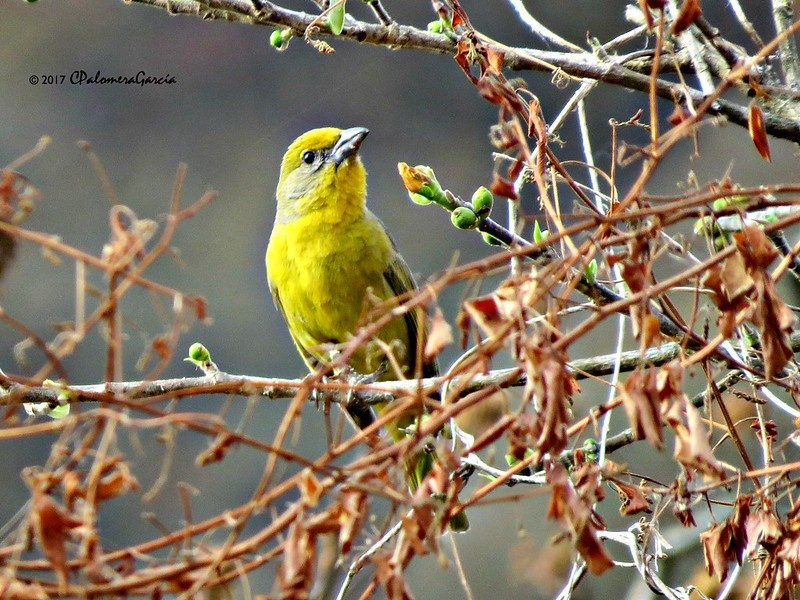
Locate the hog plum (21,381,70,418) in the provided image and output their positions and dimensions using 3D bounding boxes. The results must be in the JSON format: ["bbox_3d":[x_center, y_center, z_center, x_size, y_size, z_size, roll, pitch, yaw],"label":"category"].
[{"bbox_3d":[-1.230,0.365,3.642,0.164,0.051,0.128,-15,-65,18],"label":"hog plum"}]

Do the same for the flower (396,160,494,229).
[{"bbox_3d":[0.160,-0.362,3.697,0.356,0.180,0.145,29,-58,-3],"label":"flower"}]

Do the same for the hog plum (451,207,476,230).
[{"bbox_3d":[0.223,-0.280,3.655,0.085,0.066,0.071,15,-96,-5],"label":"hog plum"}]

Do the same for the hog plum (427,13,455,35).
[{"bbox_3d":[0.152,-1.004,3.759,0.049,0.153,0.064,-10,-88,-10],"label":"hog plum"}]

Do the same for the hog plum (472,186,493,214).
[{"bbox_3d":[0.291,-0.361,3.640,0.066,0.074,0.094,-4,-42,2],"label":"hog plum"}]

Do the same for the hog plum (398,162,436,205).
[{"bbox_3d":[0.064,-0.425,3.694,0.105,0.064,0.159,-32,-83,1],"label":"hog plum"}]
